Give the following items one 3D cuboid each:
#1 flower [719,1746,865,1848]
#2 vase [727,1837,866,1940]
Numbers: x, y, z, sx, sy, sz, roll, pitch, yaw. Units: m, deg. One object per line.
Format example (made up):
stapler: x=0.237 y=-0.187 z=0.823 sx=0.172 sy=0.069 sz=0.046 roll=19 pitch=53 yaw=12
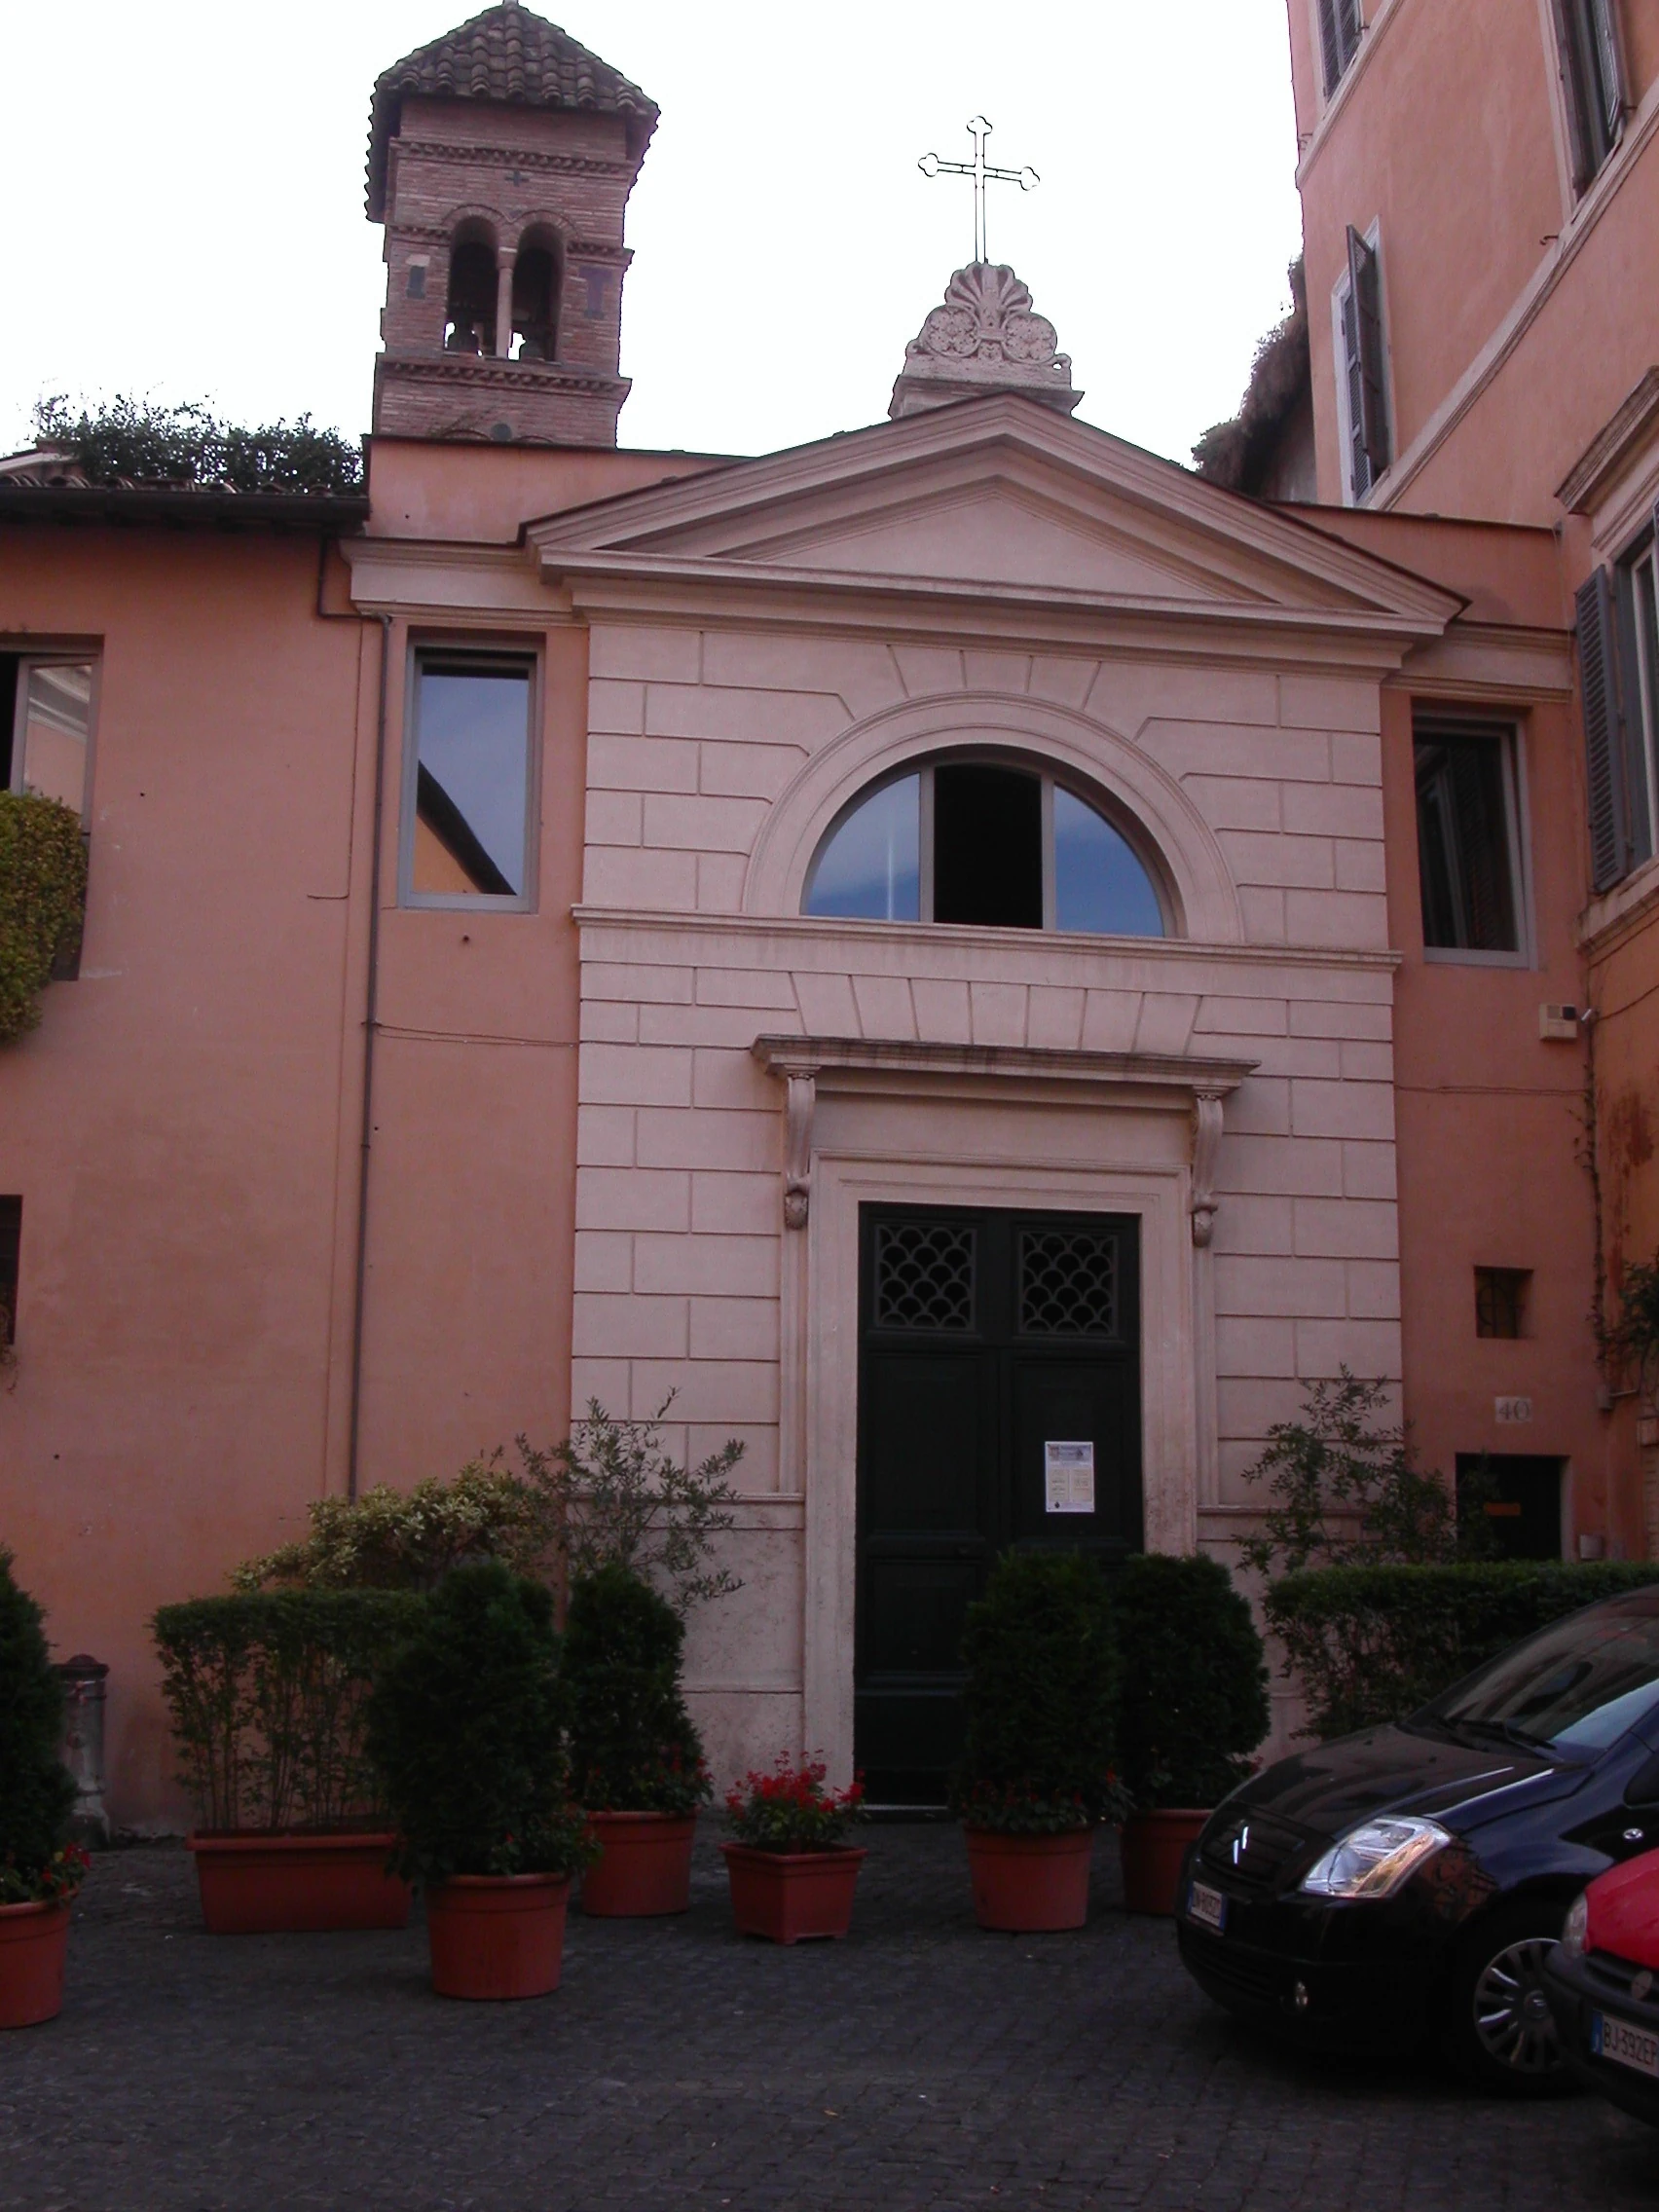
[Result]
flower: x=-0.131 y=2.518 z=9.735 sx=0.453 sy=0.312 sz=0.392 roll=1 pitch=-8 yaw=-2
vase: x=-0.134 y=2.818 z=9.735 sx=0.378 sy=0.312 sz=0.457 roll=4 pitch=-9 yaw=-22
